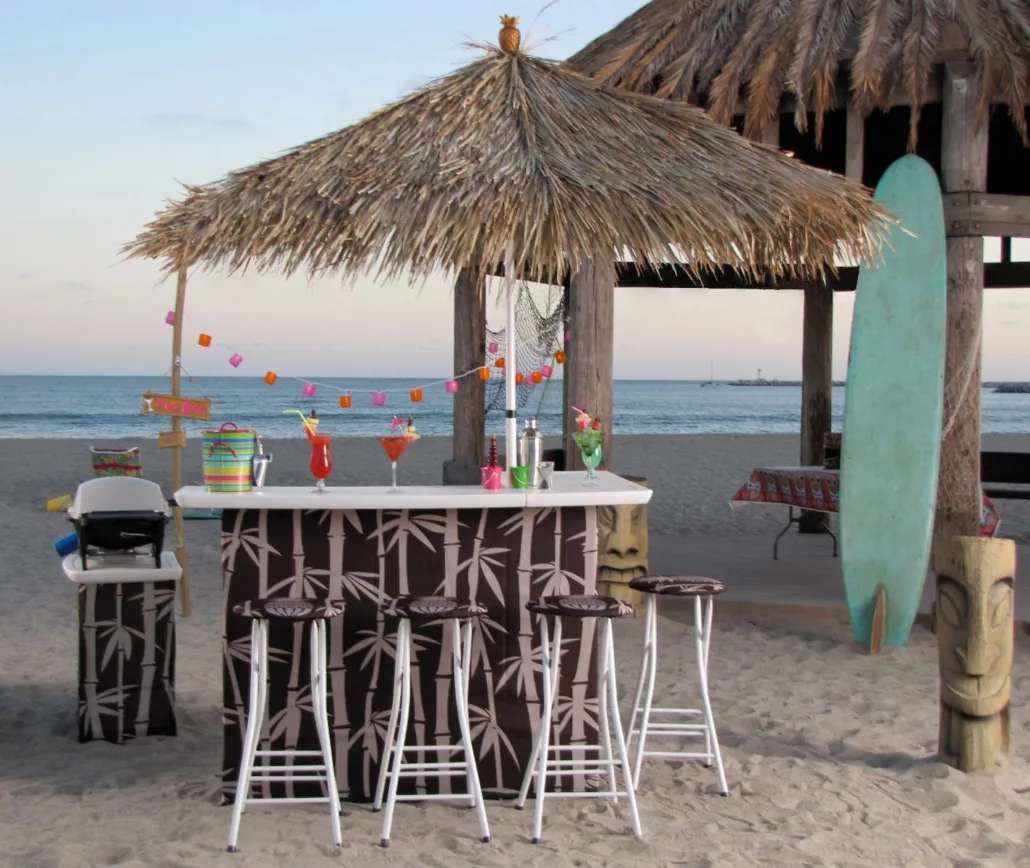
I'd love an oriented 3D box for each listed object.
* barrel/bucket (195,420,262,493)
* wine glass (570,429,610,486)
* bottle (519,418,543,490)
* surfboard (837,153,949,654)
[{"bbox_3d":[-1.326,0.113,6.932,0.292,0.323,0.308,0,-6,0],"label":"barrel/bucket"},{"bbox_3d":[0.398,0.113,7.451,0.221,0.354,0.251,0,-4,-4],"label":"wine glass"},{"bbox_3d":[0.065,0.085,7.268,0.107,0.303,0.256,0,12,0],"label":"bottle"},{"bbox_3d":[2.198,-0.160,8.744,0.594,2.988,0.433,1,-2,40],"label":"surfboard"}]
